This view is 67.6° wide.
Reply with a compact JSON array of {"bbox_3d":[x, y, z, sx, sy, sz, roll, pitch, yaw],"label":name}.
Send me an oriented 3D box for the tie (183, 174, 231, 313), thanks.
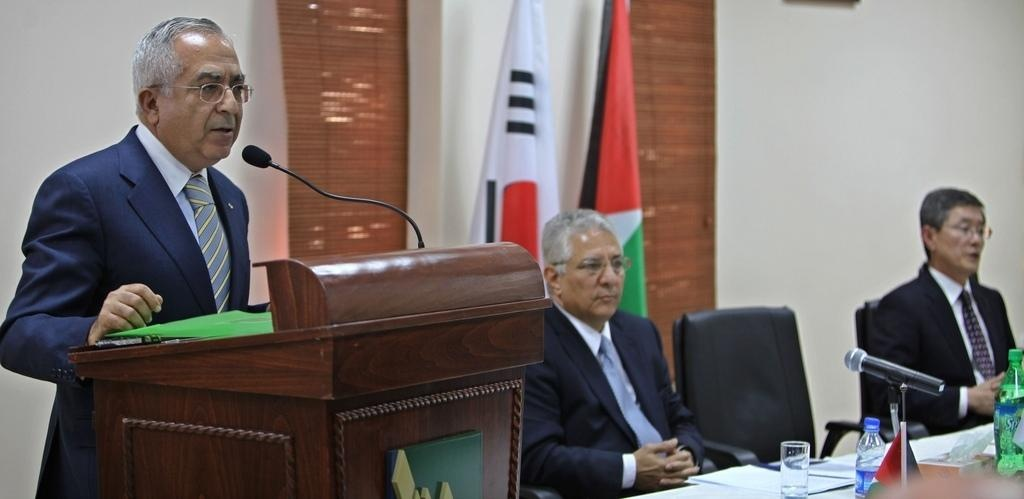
[{"bbox_3d":[-1.481,-0.019,3.743,0.116,0.717,0.191,-1,3,27],"label":"tie"}]
